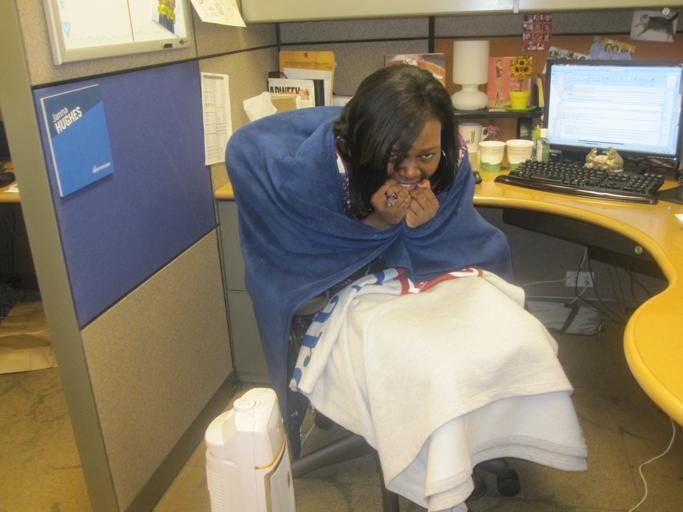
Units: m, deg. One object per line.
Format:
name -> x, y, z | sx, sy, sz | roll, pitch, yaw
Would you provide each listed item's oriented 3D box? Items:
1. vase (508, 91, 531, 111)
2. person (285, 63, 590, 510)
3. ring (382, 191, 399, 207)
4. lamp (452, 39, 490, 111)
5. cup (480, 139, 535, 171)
vase -> 0.743, -0.646, 2.296 | 0.077, 0.069, 0.080 | -1, 15, 1
person -> 0.214, 0.094, 1.483 | 0.705, 1.117, 0.669 | -8, 24, -18
ring -> 0.144, -0.165, 1.604 | 0.027, 0.040, 0.014 | 1, 17, -15
lamp -> 0.546, -0.767, 2.333 | 0.159, 0.283, 0.160 | -18, 25, -33
cup -> 0.684, -0.430, 2.282 | 0.194, 0.097, 0.128 | -2, 22, 1
